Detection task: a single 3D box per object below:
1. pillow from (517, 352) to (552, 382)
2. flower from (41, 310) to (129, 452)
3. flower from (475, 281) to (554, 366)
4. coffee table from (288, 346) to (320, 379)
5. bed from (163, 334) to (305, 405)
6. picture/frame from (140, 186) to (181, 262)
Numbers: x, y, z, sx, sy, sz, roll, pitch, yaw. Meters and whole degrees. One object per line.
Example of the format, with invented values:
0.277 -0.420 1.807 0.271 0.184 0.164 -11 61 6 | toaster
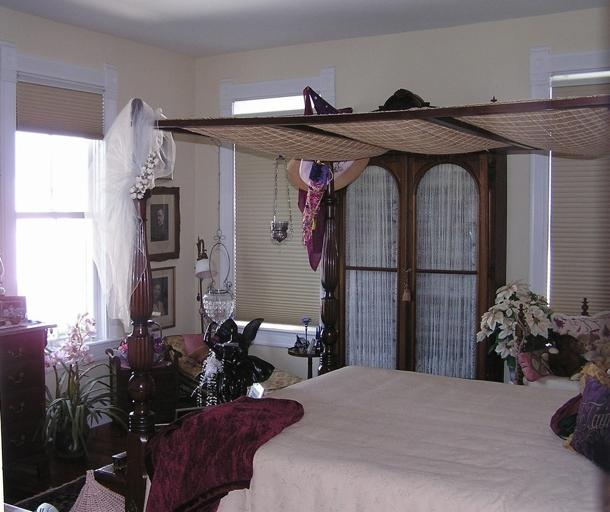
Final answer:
1.700 0.823 4.103 0.206 0.215 0.070 -7 -21 -13 | pillow
-1.897 1.095 4.624 0.690 1.139 0.715 4 0 15 | flower
1.671 0.559 4.413 0.649 0.630 0.685 -2 -1 -14 | flower
-0.003 0.960 5.285 0.353 0.409 0.363 0 2 -3 | coffee table
-0.905 1.273 5.624 1.564 0.931 0.861 8 -12 -21 | bed
-1.398 -0.304 5.294 0.033 0.781 0.764 3 6 22 | picture/frame
